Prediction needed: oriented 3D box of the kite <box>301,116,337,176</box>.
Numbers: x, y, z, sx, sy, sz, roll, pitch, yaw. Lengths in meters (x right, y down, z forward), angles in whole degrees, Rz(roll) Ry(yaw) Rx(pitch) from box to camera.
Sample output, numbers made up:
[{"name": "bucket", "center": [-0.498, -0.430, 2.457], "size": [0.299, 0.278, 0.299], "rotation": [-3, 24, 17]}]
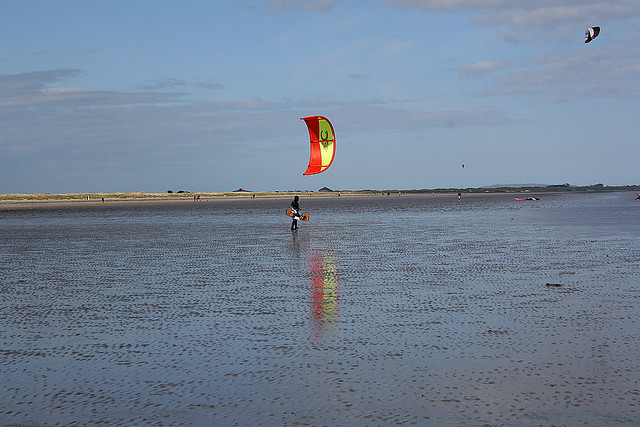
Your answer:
[{"name": "kite", "center": [-0.043, -2.829, 28.343], "size": [1.290, 1.160, 2.729], "rotation": [-9, 71, 16]}]
